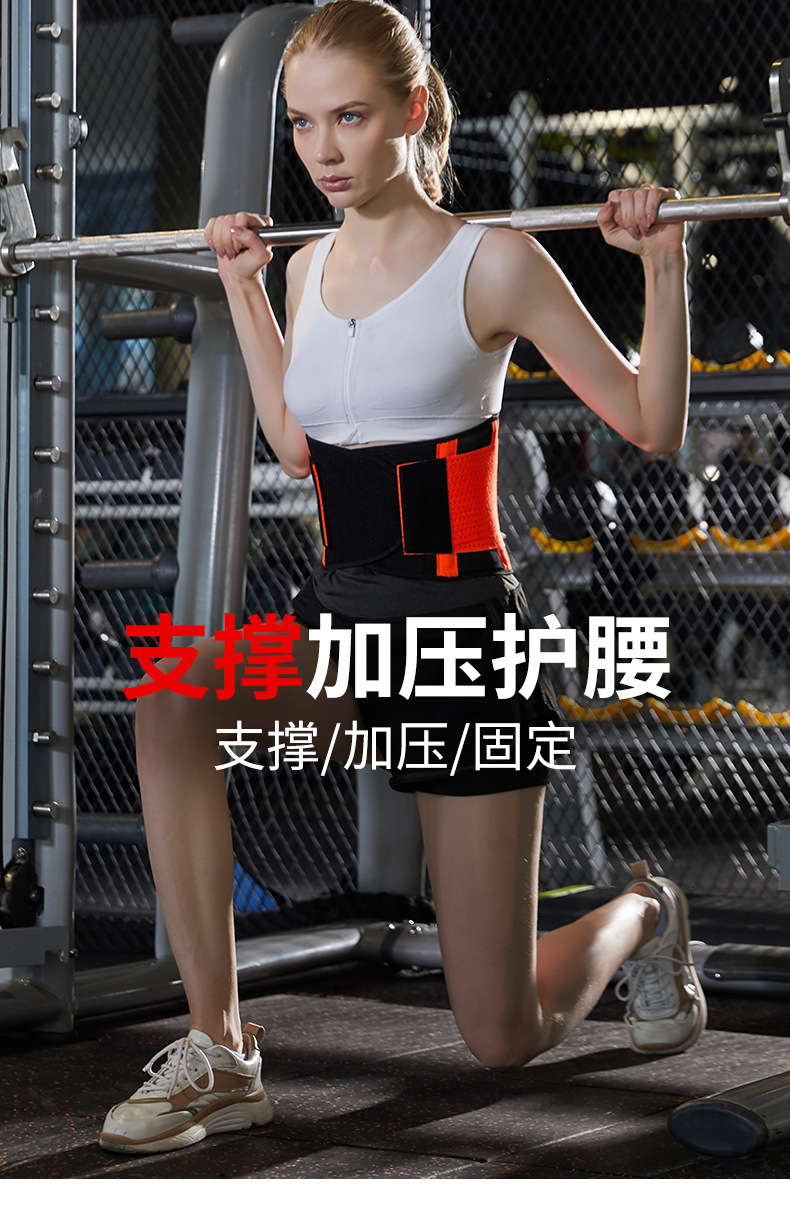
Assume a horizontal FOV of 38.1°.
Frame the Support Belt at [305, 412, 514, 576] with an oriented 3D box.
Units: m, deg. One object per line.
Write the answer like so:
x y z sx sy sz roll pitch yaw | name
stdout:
0.014 -0.111 1.237 0.250 0.167 0.153 0 5 39 | Support Belt

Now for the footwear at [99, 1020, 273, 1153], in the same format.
-0.210 0.499 1.184 0.077 0.106 0.200 -16 -19 41 | footwear

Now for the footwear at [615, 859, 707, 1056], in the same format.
0.363 0.501 1.653 0.118 0.262 0.117 -8 -11 31 | footwear

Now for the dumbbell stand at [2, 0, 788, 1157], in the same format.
0.219 -0.006 1.323 0.900 1.139 0.597 10 -17 -37 | dumbbell stand

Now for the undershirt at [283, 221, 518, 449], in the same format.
0.008 -0.270 1.152 0.265 0.245 0.160 -1 10 40 | undershirt
